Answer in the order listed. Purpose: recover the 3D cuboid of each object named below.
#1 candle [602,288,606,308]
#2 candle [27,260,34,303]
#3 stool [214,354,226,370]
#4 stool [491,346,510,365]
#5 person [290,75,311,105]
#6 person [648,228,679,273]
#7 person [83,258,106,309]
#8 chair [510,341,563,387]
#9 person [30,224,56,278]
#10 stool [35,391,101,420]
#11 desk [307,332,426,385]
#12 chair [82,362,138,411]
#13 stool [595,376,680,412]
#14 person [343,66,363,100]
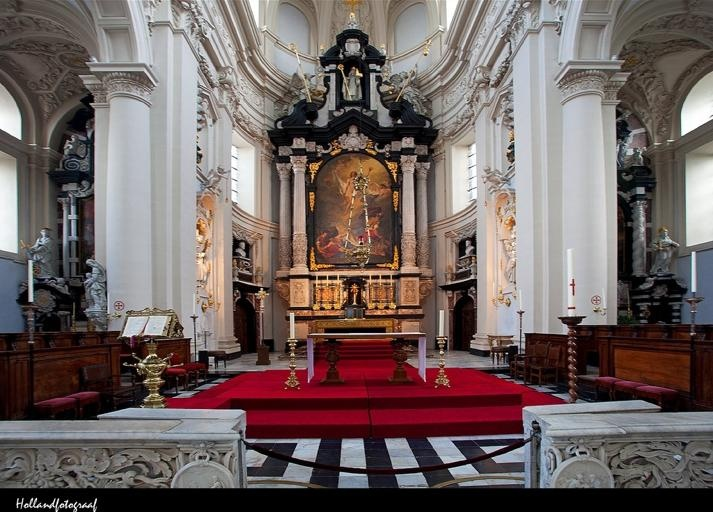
[{"bbox_3d":[5.703,0.971,14.115,0.208,0.432,0.073,3,-8,-43],"label":"candle"},{"bbox_3d":[-5.365,0.427,10.110,0.075,0.705,0.318,1,-7,-30],"label":"candle"},{"bbox_3d":[-3.827,2.942,17.155,0.192,0.266,0.589,-1,-3,-4],"label":"stool"},{"bbox_3d":[3.885,2.674,16.584,0.537,0.313,0.680,-2,-2,2],"label":"stool"},{"bbox_3d":[-2.204,-6.594,24.284,0.856,1.273,0.773,-2,-6,-4],"label":"person"},{"bbox_3d":[9.221,-0.122,18.444,0.784,1.384,1.083,-5,-6,26],"label":"person"},{"bbox_3d":[-6.197,0.688,14.556,0.485,1.214,0.569,0,-6,-23],"label":"person"},{"bbox_3d":[4.067,2.413,13.891,0.990,0.910,1.352,-2,-5,6],"label":"chair"},{"bbox_3d":[-9.120,-0.086,17.855,0.631,1.522,0.905,1,-6,-25],"label":"person"},{"bbox_3d":[-5.148,2.677,11.012,0.856,0.434,1.352,-2,-5,8],"label":"stool"},{"bbox_3d":[0.251,2.236,14.238,2.529,1.060,4.169,-2,-5,3],"label":"desk"},{"bbox_3d":[-4.808,2.501,11.942,0.718,0.701,1.008,2,-6,5],"label":"chair"},{"bbox_3d":[5.215,2.504,11.270,0.576,0.453,1.364,1,-6,-29],"label":"stool"},{"bbox_3d":[-0.176,-6.748,24.045,0.713,1.241,0.297,-2,-6,1],"label":"person"}]
